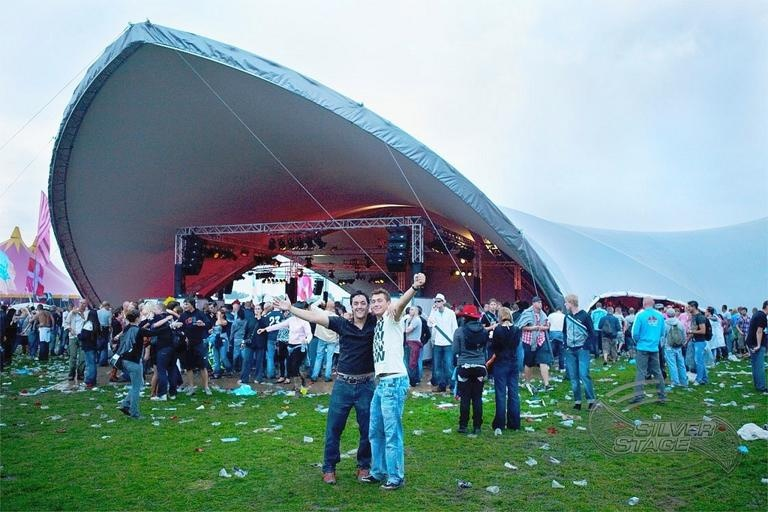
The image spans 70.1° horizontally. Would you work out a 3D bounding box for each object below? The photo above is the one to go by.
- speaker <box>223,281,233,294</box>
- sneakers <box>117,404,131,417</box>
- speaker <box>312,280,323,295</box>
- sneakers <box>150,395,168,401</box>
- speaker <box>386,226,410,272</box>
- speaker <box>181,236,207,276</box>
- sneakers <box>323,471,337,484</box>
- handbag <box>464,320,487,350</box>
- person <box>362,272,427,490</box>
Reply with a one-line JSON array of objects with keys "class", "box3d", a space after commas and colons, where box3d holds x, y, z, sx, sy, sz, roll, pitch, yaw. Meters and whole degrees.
[{"class": "speaker", "box3d": [-10.309, 2.135, 35.976, 0.751, 0.766, 1.376, 0, -21, -19]}, {"class": "sneakers", "box3d": [-5.431, 3.238, 11.408, 0.203, 0.106, 0.277, -5, -26, 1]}, {"class": "speaker", "box3d": [-4.467, 2.305, 36.773, 0.841, 0.892, 1.515, 2, -28, -3]}, {"class": "sneakers", "box3d": [-5.262, 3.322, 12.712, 0.355, 0.154, 0.141, 2, -3, -20]}, {"class": "speaker", "box3d": [0.500, -0.259, 21.573, 0.829, 1.720, 0.928, -1, 3, -3]}, {"class": "speaker", "box3d": [-9.080, -0.062, 25.802, 0.661, 1.919, 1.731, 0, 3, 5]}, {"class": "sneakers", "box3d": [-0.869, 3.512, 8.656, 0.218, 0.176, 0.145, -1, 3, -10]}, {"class": "handbag", "box3d": [1.708, 1.511, 10.570, 0.553, 0.713, 0.466, -1, -5, -4]}, {"class": "person", "box3d": [0.047, 2.058, 8.604, 0.732, 3.084, 0.487, 0, 3, 11]}]
